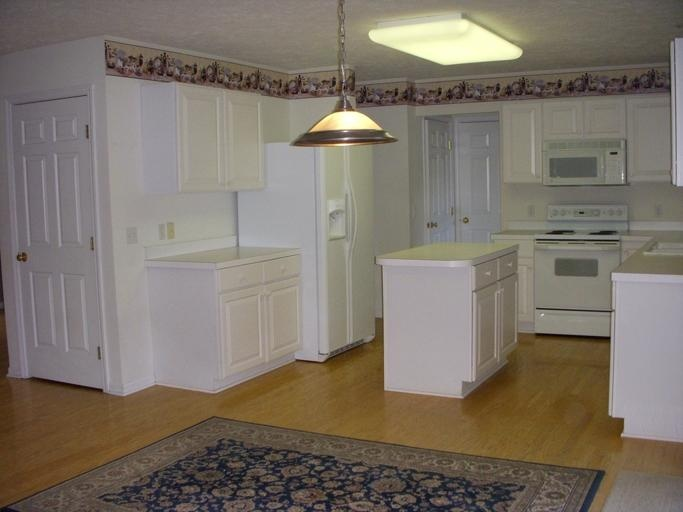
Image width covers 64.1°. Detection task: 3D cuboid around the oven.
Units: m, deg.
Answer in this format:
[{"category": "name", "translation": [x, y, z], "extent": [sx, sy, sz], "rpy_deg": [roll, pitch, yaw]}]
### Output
[{"category": "oven", "translation": [2.467, 0.310, 6.113], "extent": [0.971, 1.074, 0.829], "rpy_deg": [2, -1, 2]}]

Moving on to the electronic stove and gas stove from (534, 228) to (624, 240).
[{"category": "electronic stove and gas stove", "translation": [2.630, -0.229, 6.008], "extent": [0.822, 0.088, 0.627], "rpy_deg": [2, 7, 25]}]

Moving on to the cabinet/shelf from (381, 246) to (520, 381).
[{"category": "cabinet/shelf", "translation": [0.905, 0.507, 4.586], "extent": [1.082, 1.096, 1.731], "rpy_deg": [0, 3, 26]}]

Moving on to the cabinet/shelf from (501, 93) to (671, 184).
[{"category": "cabinet/shelf", "translation": [2.722, -1.274, 5.910], "extent": [1.234, 0.505, 0.338], "rpy_deg": [0, 2, 20]}]

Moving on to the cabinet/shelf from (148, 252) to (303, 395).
[{"category": "cabinet/shelf", "translation": [-0.911, 0.532, 4.679], "extent": [1.227, 1.080, 0.630], "rpy_deg": [-7, 10, -37]}]

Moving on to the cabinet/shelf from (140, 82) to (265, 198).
[{"category": "cabinet/shelf", "translation": [-1.244, -1.014, 4.875], "extent": [0.538, 0.925, 1.384], "rpy_deg": [7, 14, 19]}]
